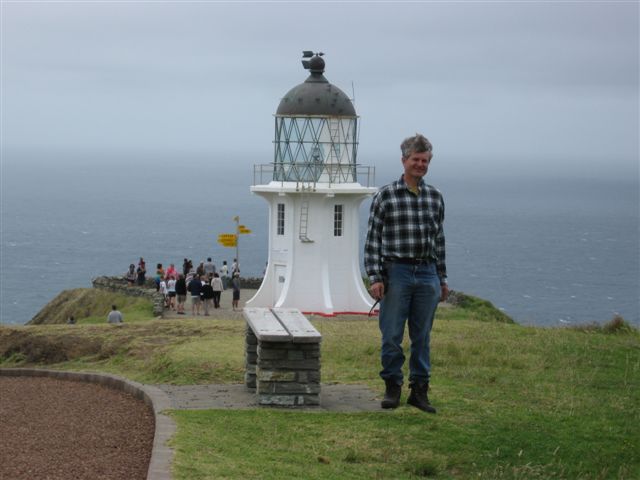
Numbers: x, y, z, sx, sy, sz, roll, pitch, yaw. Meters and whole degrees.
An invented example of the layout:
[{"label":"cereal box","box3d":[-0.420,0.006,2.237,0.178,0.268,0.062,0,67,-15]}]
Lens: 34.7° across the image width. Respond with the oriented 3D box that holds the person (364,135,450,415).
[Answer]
[{"label":"person","box3d":[1.409,0.562,16.945,1.354,4.602,0.746,-1,3,1]}]
